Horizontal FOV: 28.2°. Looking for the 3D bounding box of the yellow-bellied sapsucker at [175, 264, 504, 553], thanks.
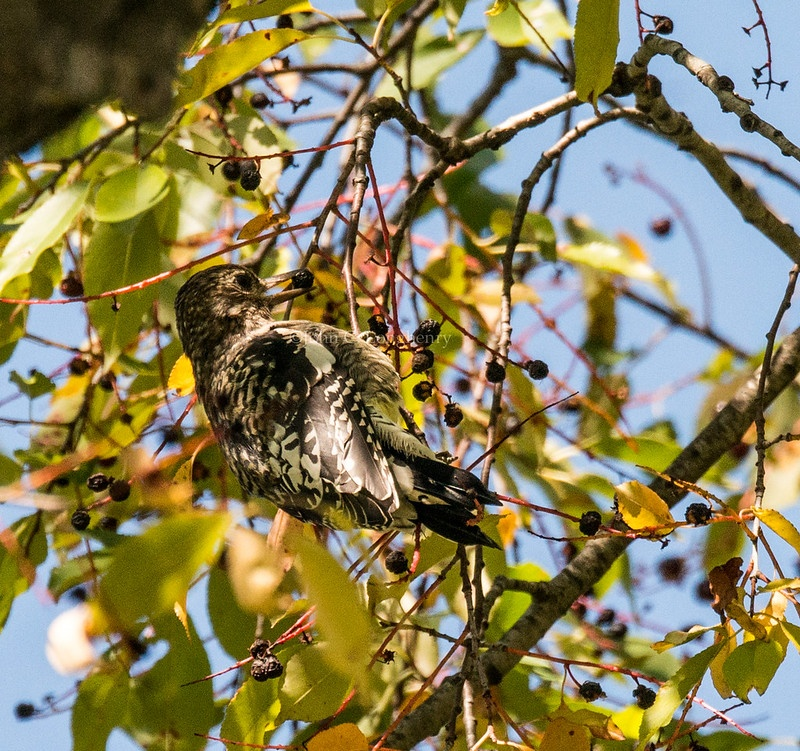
[{"bbox_3d":[-0.192,0.138,4.602,0.412,1.311,0.728,23,-97,-53],"label":"yellow-bellied sapsucker"}]
